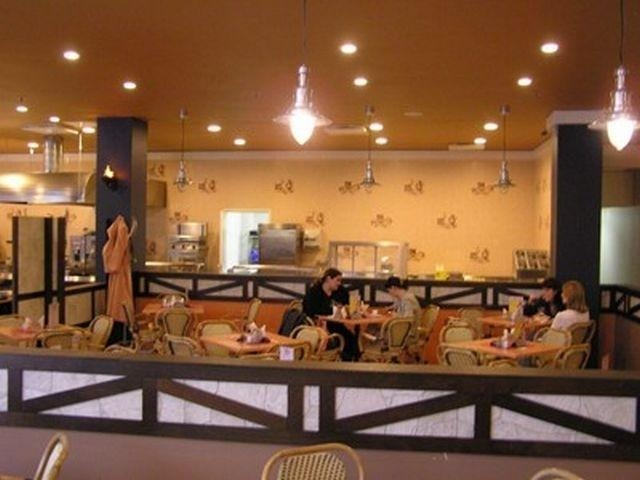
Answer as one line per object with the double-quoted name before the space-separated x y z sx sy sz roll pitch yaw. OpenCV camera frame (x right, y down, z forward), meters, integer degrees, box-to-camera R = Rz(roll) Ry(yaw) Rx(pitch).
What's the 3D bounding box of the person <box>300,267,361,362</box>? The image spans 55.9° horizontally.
"person" 0.160 0.926 7.472 0.891 1.164 0.602 -4 10 -42
